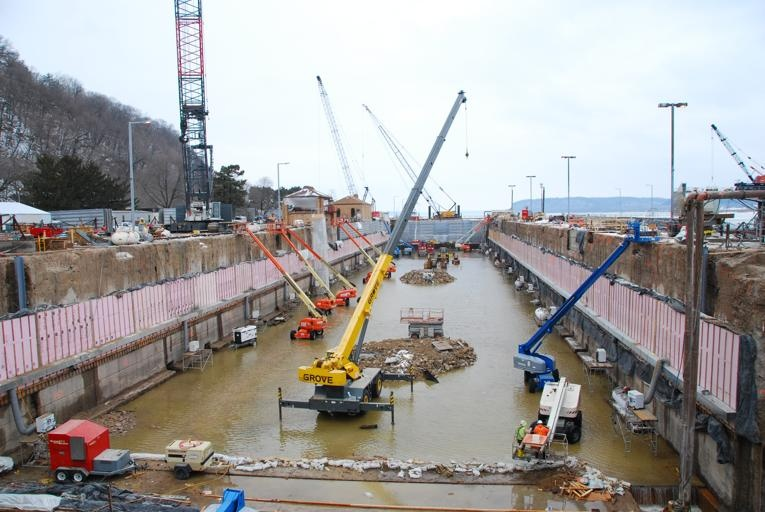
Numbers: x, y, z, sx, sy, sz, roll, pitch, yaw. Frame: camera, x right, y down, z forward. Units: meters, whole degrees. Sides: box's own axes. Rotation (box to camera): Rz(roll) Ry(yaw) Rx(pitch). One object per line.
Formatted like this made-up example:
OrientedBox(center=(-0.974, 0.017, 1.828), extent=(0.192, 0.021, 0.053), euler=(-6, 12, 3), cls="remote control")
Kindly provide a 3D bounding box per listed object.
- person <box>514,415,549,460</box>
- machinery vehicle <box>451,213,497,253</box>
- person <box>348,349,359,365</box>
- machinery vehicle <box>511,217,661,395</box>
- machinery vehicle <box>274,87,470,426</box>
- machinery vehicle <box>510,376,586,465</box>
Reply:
OrientedBox(center=(7.070, 8.325, 29.993), extent=(1.287, 0.537, 1.777), euler=(-9, 38, 34), cls="person")
OrientedBox(center=(16.846, -3.615, 119.122), extent=(3.797, 8.410, 13.447), euler=(0, 5, -24), cls="machinery vehicle")
OrientedBox(center=(-1.595, 5.407, 35.372), extent=(0.609, 0.856, 0.267), euler=(0, -16, -6), cls="person")
OrientedBox(center=(10.546, 2.784, 37.033), extent=(6.349, 9.298, 7.167), euler=(-2, 5, -15), cls="machinery vehicle")
OrientedBox(center=(0.334, 0.003, 34.857), extent=(12.281, 15.705, 6.996), euler=(-16, -6, 23), cls="machinery vehicle")
OrientedBox(center=(8.195, 7.868, 31.134), extent=(2.582, 2.289, 5.931), euler=(-2, 12, 30), cls="machinery vehicle")
